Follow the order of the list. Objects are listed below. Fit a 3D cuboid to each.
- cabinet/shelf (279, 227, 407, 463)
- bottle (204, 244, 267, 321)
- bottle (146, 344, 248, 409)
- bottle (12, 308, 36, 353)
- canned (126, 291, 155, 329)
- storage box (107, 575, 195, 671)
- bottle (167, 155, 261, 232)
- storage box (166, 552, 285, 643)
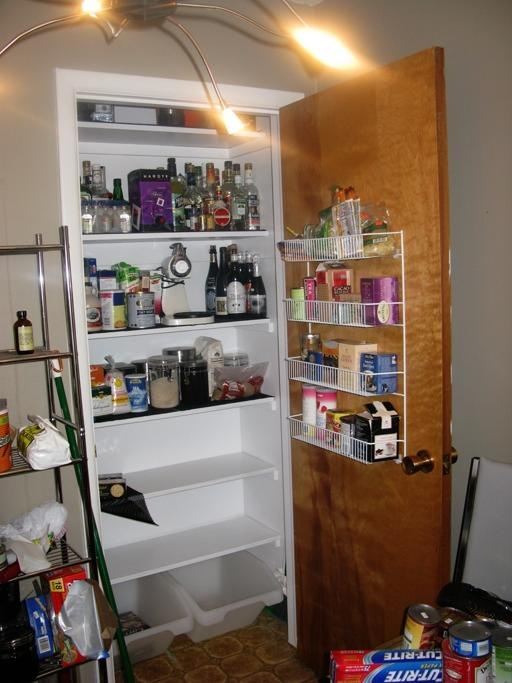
[{"bbox_3d":[0.240,0.012,1.666,0.168,0.652,0.550,-7,7,-16],"label":"cabinet/shelf"},{"bbox_3d":[-0.098,-0.241,2.271,0.168,0.299,0.327,-10,8,-40],"label":"bottle"},{"bbox_3d":[-0.244,0.130,2.186,0.306,0.207,0.221,0,5,-8],"label":"bottle"},{"bbox_3d":[-0.593,-0.024,1.434,0.044,0.107,0.093,-8,7,-23],"label":"bottle"},{"bbox_3d":[-0.372,-0.108,1.950,0.120,0.123,0.117,-2,5,-1],"label":"canned"},{"bbox_3d":[-0.397,1.079,2.216,0.254,0.185,0.383,-7,7,-18],"label":"storage box"},{"bbox_3d":[-0.168,-0.559,2.193,0.380,0.288,0.325,-7,7,-17],"label":"bottle"},{"bbox_3d":[-0.103,1.050,2.355,0.367,0.155,0.284,-2,4,-32],"label":"storage box"}]
